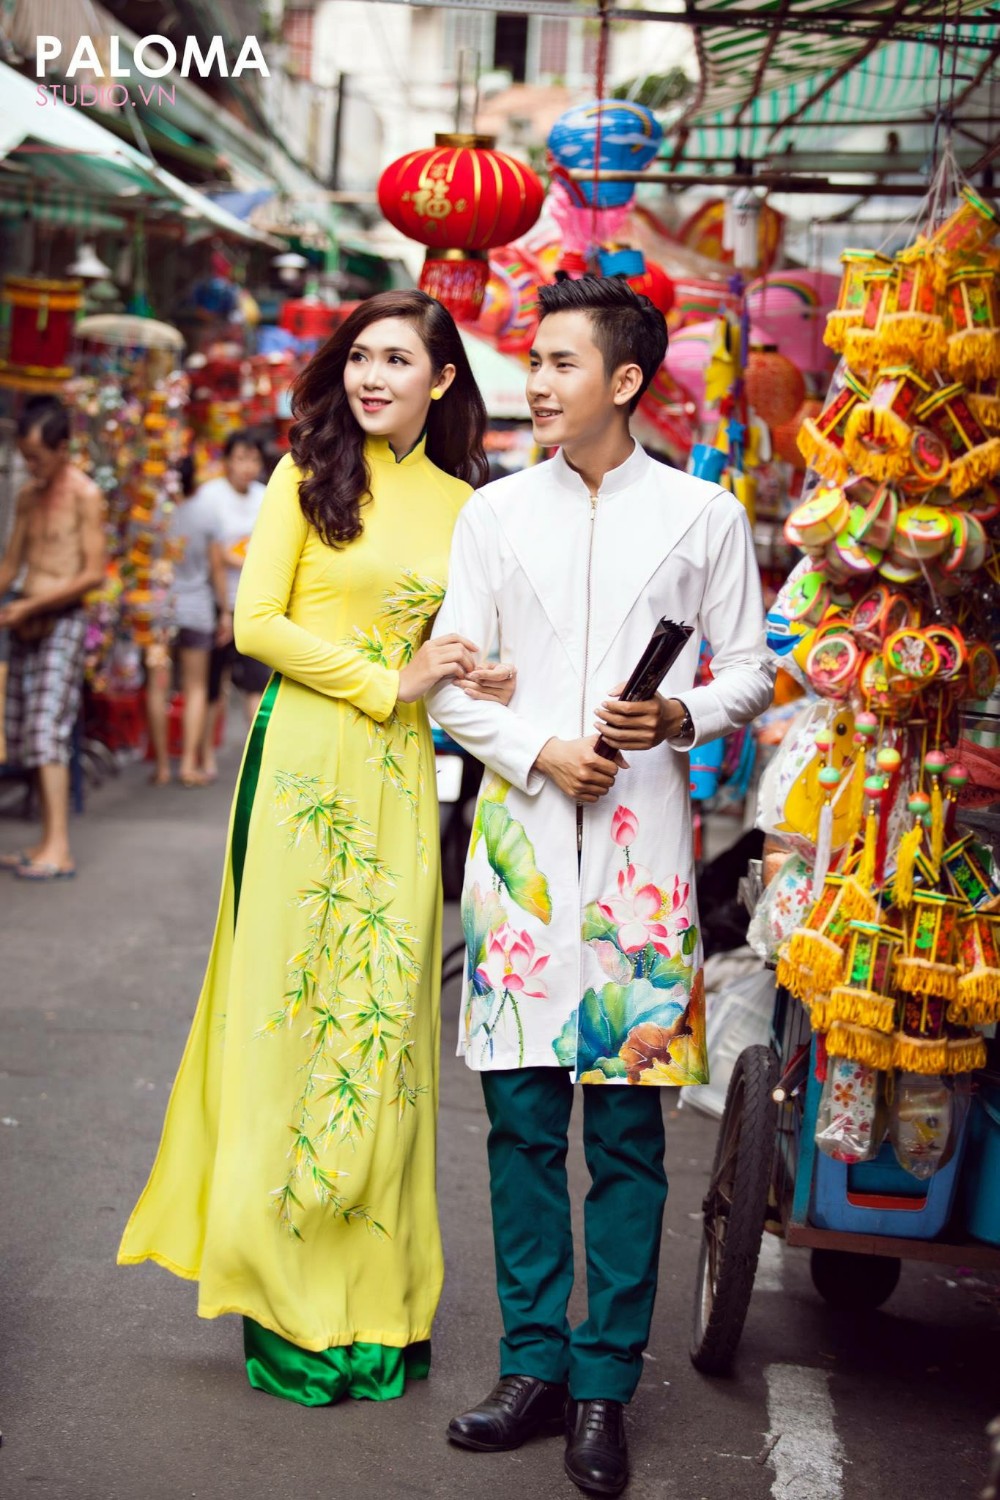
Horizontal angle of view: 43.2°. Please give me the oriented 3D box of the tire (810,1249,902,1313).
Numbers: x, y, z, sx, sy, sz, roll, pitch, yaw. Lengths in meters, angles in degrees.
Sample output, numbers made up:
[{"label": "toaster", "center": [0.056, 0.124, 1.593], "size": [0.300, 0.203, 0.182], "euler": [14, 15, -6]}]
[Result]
[{"label": "tire", "center": [0.807, 1.213, 2.905], "size": [0.194, 0.135, 0.146], "euler": [5, -6, 7]}]

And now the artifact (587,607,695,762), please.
[{"label": "artifact", "center": [0.216, -0.117, 1.871], "size": [0.077, 0.295, 0.068], "euler": [33, 30, 9]}]

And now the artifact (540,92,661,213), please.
[{"label": "artifact", "center": [0.360, -2.103, 4.528], "size": [0.406, 0.409, 0.415], "euler": [-1, 19, 5]}]

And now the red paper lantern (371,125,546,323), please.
[{"label": "red paper lantern", "center": [-0.140, -1.615, 4.012], "size": [0.478, 0.637, 0.490], "euler": [20, 32, 24]}]

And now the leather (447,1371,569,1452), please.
[{"label": "leather", "center": [0.012, 1.057, 2.086], "size": [0.086, 0.108, 0.237], "euler": [10, 0, 42]}]

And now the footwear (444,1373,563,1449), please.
[{"label": "footwear", "center": [0.011, 1.067, 2.069], "size": [0.081, 0.102, 0.224], "euler": [9, -2, 43]}]

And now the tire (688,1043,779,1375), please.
[{"label": "tire", "center": [0.455, 0.888, 2.432], "size": [0.110, 0.632, 0.633], "euler": [7, 0, 11]}]
